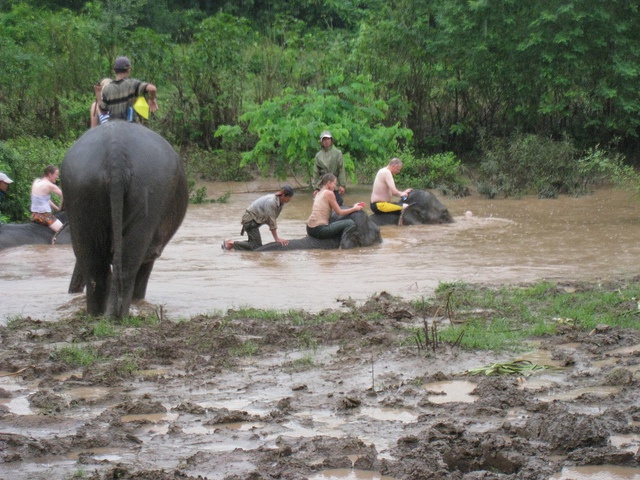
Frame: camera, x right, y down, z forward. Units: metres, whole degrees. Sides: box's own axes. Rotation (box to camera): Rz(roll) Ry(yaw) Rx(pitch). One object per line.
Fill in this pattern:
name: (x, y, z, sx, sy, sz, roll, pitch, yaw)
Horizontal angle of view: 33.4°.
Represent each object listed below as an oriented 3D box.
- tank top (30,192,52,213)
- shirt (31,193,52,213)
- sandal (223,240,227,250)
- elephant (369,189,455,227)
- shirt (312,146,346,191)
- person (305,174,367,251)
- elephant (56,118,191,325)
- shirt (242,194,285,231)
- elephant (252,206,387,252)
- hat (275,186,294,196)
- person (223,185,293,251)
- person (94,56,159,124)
tank top: (-5.580, -0.696, 21.357, 0.447, 0.328, 0.495, 2, 3, -2)
shirt: (-5.566, -0.710, 21.403, 0.461, 0.319, 0.547, 1, -10, -3)
sandal: (-1.816, 0.121, 20.234, 0.047, 0.150, 0.181, -3, 8, -22)
elephant: (1.941, -0.558, 22.716, 1.625, 1.013, 0.831, -4, 19, -4)
shirt: (0.195, -1.563, 23.538, 0.678, 0.918, 0.662, 0, 7, -1)
person: (0.344, -0.486, 20.826, 1.214, 1.512, 0.828, 0, 11, 2)
elephant: (-2.886, -0.268, 15.584, 1.703, 2.916, 0.804, -1, 7, -14)
shirt: (-1.108, -0.547, 20.572, 0.783, 0.748, 0.595, 11, 4, 8)
elephant: (0.010, 0.088, 20.510, 2.435, 1.171, 0.942, -7, 21, -9)
hat: (-0.666, -0.906, 20.209, 0.266, 0.143, 0.186, 7, 23, -1)
person: (-1.166, -0.413, 20.334, 1.218, 1.212, 0.714, -1, 7, -13)
person: (-2.943, -2.299, 16.371, 0.825, 0.940, 0.335, -1, 7, -11)
